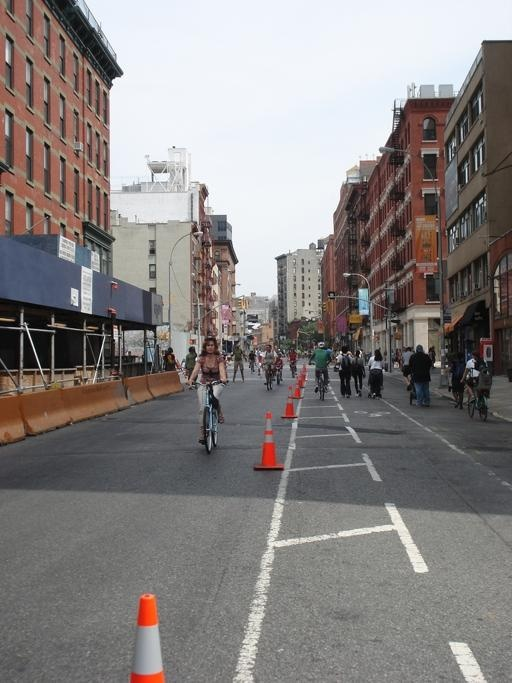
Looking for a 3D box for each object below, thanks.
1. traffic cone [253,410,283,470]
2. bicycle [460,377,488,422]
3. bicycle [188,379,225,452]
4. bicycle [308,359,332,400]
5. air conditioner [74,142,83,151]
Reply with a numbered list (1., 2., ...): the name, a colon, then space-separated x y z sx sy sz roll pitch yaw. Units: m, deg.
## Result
1. traffic cone: 0.177 1.463 9.843 0.390 0.812 0.504 -1 -2 19
2. bicycle: 6.094 1.588 18.392 0.433 0.925 1.186 -4 0 1
3. bicycle: -0.791 1.235 11.862 0.409 1.140 1.455 -6 11 8
4. bicycle: 2.536 1.689 26.310 0.731 1.541 1.987 -1 8 1
5. air conditioner: -9.965 -10.932 37.223 0.335 0.506 1.165 -2 -1 -3
